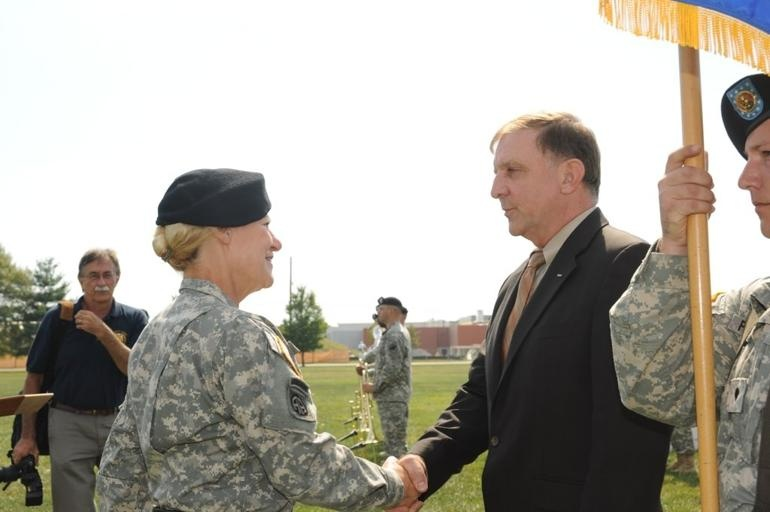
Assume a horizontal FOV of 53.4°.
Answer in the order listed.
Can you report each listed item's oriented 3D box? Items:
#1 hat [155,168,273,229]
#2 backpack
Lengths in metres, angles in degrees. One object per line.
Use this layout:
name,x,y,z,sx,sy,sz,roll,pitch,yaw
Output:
hat,-1.036,-0.318,4.579,0.506,0.286,0.467,-14,9,-19
backpack,-3.563,1.592,7.763,0.345,0.842,0.212,3,-10,-26
